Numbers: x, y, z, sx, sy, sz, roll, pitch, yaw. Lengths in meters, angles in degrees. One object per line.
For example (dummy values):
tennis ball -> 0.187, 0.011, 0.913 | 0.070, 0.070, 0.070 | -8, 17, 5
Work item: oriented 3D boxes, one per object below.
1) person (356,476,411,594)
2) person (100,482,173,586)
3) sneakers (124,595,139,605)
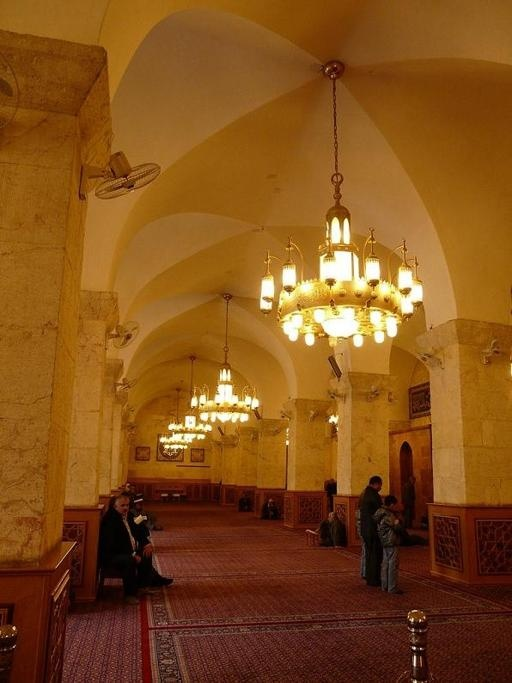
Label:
person -> 1.379, 2.132, 6.228 | 0.438, 1.204, 0.783 | -1, -12, 10
person -> -1.293, 2.139, 5.922 | 0.601, 0.991, 0.870 | 0, -12, 4
sneakers -> -1.176, 2.467, 5.345 | 0.059, 0.117, 0.172 | 14, -22, -39
